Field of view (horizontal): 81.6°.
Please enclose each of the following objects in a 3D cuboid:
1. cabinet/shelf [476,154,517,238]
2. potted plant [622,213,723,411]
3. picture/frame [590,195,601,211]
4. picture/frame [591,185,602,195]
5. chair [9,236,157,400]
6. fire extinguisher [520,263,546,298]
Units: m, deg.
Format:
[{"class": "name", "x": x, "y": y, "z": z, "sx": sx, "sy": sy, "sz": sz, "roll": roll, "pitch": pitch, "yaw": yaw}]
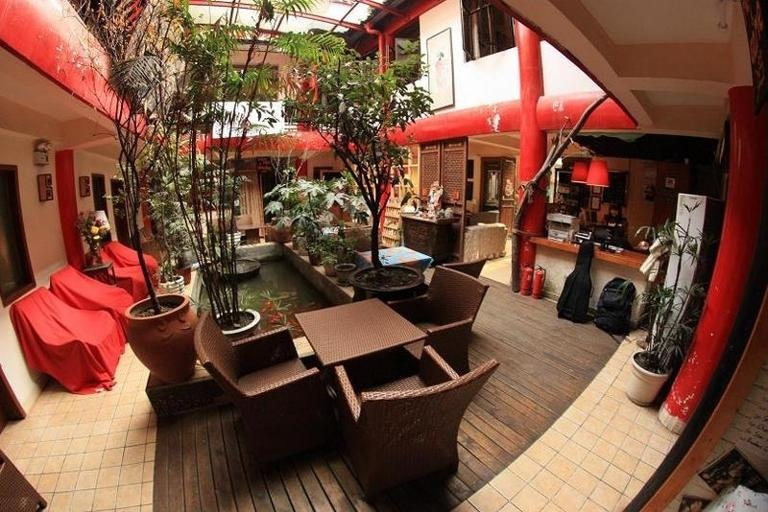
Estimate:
[{"class": "cabinet/shelf", "x": 2.740, "y": -1.475, "z": 10.589, "sx": 0.899, "sy": 1.673, "sz": 0.571, "roll": 1, "pitch": 13, "yaw": 7}, {"class": "potted plant", "x": 3.042, "y": 0.595, "z": 4.681, "sx": 0.582, "sy": 1.907, "sz": 0.877, "roll": 9, "pitch": 16, "yaw": 37}, {"class": "picture/frame", "x": 3.688, "y": -0.909, "z": 7.711, "sx": 0.024, "sy": 0.271, "sz": 0.233, "roll": -8, "pitch": 17, "yaw": -24}, {"class": "picture/frame", "x": 3.627, "y": -1.112, "z": 7.549, "sx": 0.026, "sy": 0.203, "sz": 0.205, "roll": -5, "pitch": 2, "yaw": -19}, {"class": "chair", "x": -3.560, "y": 0.770, "z": 5.183, "sx": 0.565, "sy": 0.638, "sz": 1.725, "roll": -1, "pitch": 22, "yaw": -8}, {"class": "fire extinguisher", "x": 2.389, "y": 0.405, "z": 7.047, "sx": 0.485, "sy": 0.647, "sz": 0.300, "roll": 1, "pitch": 7, "yaw": 14}]
